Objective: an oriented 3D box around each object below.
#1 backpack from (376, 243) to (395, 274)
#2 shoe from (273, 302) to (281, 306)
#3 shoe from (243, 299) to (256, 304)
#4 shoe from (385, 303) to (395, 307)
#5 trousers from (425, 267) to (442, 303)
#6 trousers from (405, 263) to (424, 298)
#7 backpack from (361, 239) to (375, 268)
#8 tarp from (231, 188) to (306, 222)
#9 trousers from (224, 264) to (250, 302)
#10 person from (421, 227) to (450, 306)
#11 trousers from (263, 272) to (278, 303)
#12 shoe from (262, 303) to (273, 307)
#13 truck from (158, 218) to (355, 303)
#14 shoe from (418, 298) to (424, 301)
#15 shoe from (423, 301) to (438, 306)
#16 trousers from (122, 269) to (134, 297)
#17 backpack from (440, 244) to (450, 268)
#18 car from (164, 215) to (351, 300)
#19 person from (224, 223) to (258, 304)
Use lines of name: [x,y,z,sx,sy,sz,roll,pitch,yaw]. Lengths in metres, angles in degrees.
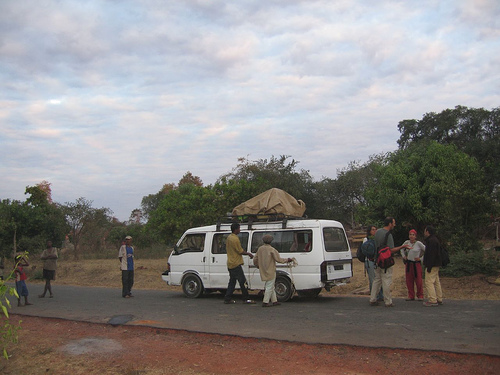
backpack: [3.691,1.911,11.947,0.487,0.681,0.421,-17,4,-12]
shoe: [0.781,3.378,12.544,0.204,0.132,0.068,-14,14,-35]
shoe: [-0.004,3.511,13.151,0.389,0.165,0.128,-3,2,-8]
shoe: [3.866,3.225,11.834,0.348,0.080,0.160,3,-10,-34]
trousers: [5.164,2.699,12.058,0.344,0.961,0.748,-8,-9,40]
trousers: [4.958,2.807,12.951,0.439,1.079,0.827,-4,-8,18]
backpack: [3.592,1.986,12.889,0.314,0.822,0.560,0,-7,-16]
tarp: [0.782,0.532,14.905,2.680,0.980,1.959,-3,-6,34]
trousers: [-0.432,2.918,13.127,0.628,1.099,0.413,-6,-8,31]
person: [5.172,2.186,12.047,0.659,2.164,0.803,-7,-9,38]
trousers: [0.585,2.941,12.633,0.391,0.848,0.381,-2,-7,2]
shoe: [0.509,3.385,12.432,0.301,0.094,0.172,-3,-8,9]
truck: [0.289,2.311,14.174,5.284,2.132,2.882,-3,-10,22]
shoe: [5.078,3.316,12.761,0.130,0.085,0.232,-5,-9,19]
shoe: [4.976,3.183,11.801,0.367,0.166,0.146,8,2,10]
trousers: [-4.372,3.393,15.279,0.354,0.952,0.499,0,-7,-17]
backpack: [5.543,1.930,12.216,0.189,0.601,0.527,-5,-8,24]
car: [0.219,2.153,13.954,5.199,2.235,2.839,-2,-9,22]
person: [-0.317,2.347,13.378,0.971,2.450,1.032,-2,-7,0]
